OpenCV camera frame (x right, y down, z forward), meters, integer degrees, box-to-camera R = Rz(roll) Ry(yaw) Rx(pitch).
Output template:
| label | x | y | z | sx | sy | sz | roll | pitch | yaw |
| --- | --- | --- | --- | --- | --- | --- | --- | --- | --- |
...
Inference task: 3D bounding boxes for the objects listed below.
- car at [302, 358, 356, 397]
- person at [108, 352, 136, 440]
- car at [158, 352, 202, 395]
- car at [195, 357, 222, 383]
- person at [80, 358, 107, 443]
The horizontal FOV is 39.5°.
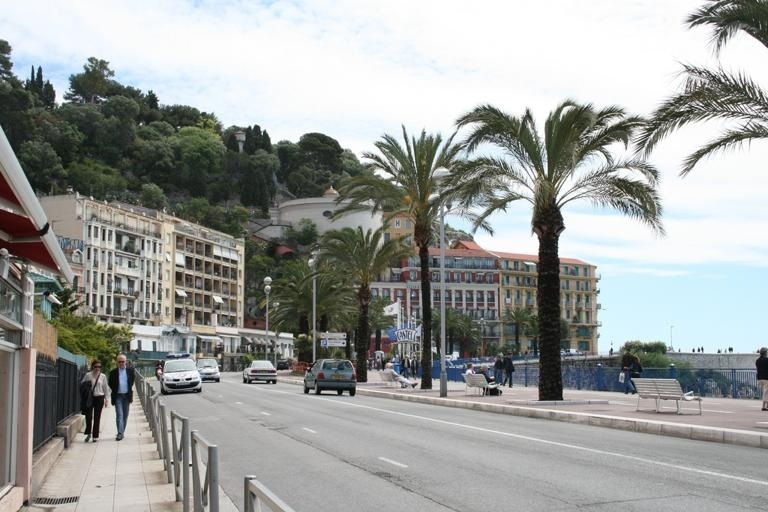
| label | x | y | z | sx | sy | sz | roll | pitch | yaw |
| --- | --- | --- | --- | --- | --- | --- | --- | --- | --- |
| car | -2.701 | 6.037 | 53.073 | 2.109 | 1.881 | 3.492 | 5 | -12 | -15 |
| person | -8.030 | 4.228 | 32.864 | 1.000 | 2.721 | 0.936 | 1 | -3 | -26 |
| car | -10.087 | 5.914 | 53.253 | 1.856 | 1.876 | 2.423 | 4 | -12 | -12 |
| car | -10.968 | 7.132 | 67.764 | 1.625 | 1.561 | 3.019 | 1 | -14 | -11 |
| person | -8.843 | 4.414 | 32.569 | 0.810 | 2.405 | 1.196 | 1 | -3 | -24 |
